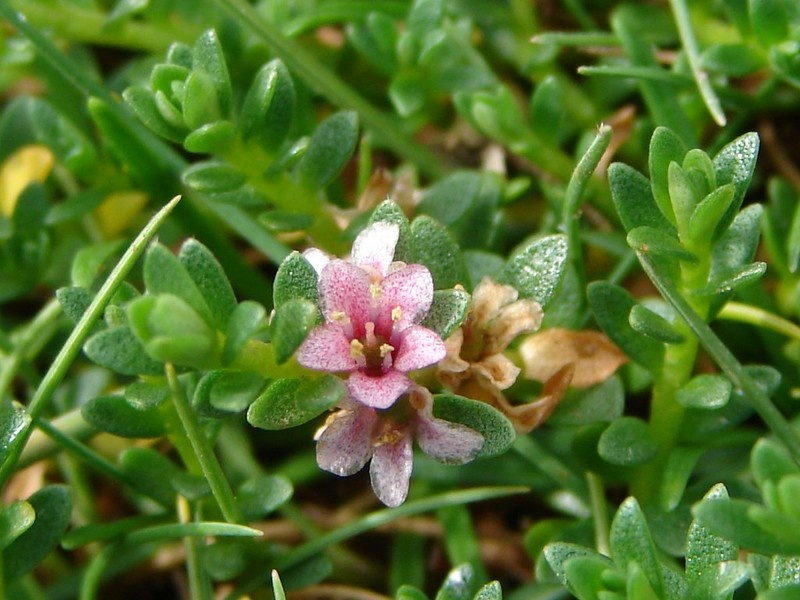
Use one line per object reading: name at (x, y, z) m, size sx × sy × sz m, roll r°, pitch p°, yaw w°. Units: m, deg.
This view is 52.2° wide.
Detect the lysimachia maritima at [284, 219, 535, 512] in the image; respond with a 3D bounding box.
lysimachia maritima at (-0.008, 0.064, 0.927) m, size 0.179 × 0.120 × 0.303 m, roll -16°, pitch 84°, yaw 9°
